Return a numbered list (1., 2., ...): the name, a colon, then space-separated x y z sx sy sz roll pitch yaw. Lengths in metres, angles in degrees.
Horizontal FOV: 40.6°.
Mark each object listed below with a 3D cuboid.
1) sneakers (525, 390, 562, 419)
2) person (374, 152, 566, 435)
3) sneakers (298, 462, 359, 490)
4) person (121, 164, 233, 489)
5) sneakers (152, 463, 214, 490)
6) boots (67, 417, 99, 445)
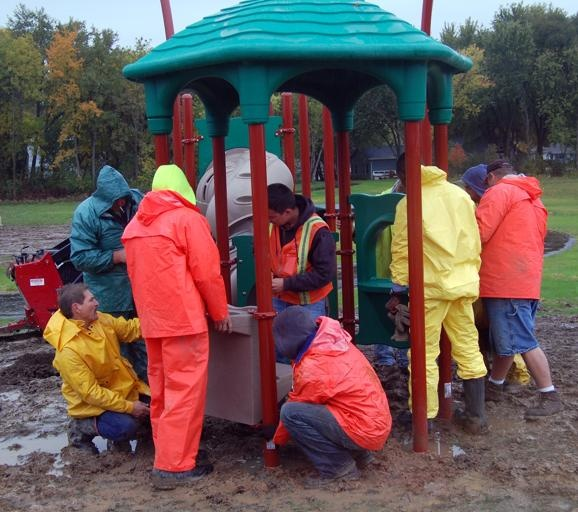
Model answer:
1. sneakers: 2.050 1.181 6.262 0.359 0.260 0.162 -10 -4 15
2. person: 1.096 0.292 5.877 0.752 2.132 0.791 -1 11 13
3. sneakers: 0.300 1.510 5.317 0.249 0.091 0.189 -11 -8 6
4. person: -0.753 0.539 5.514 0.682 1.989 0.606 -6 11 -13
5. sneakers: -0.737 1.519 5.446 0.429 0.121 0.165 -7 11 -18
6. boots: -1.595 1.338 6.016 0.211 0.267 0.140 13 7 -21
